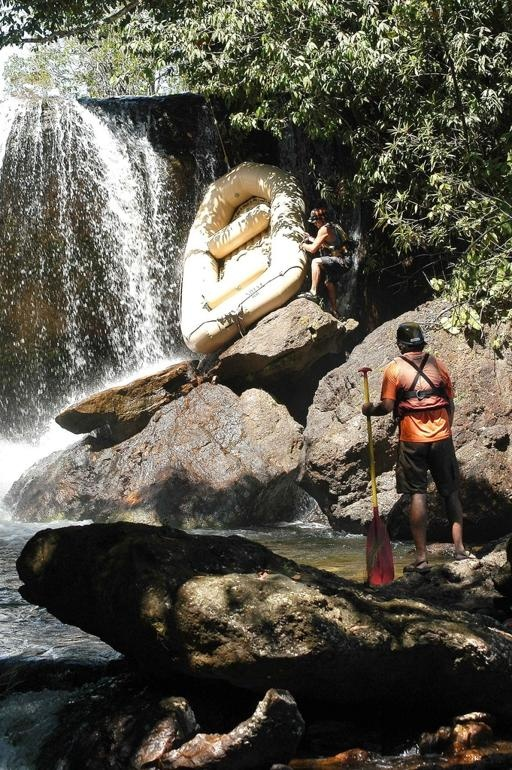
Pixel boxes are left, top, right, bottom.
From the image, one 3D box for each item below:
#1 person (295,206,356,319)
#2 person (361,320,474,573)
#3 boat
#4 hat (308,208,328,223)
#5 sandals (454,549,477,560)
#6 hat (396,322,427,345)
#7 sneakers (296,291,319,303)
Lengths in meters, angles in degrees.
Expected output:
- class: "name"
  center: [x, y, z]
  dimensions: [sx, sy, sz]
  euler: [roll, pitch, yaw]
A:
- class: "person"
  center: [0.996, -1.659, 12.557]
  dimensions: [0.709, 1.451, 0.871]
  euler: [-7, 10, 6]
- class: "person"
  center: [1.043, 0.404, 6.034]
  dimensions: [0.553, 1.559, 0.628]
  euler: [-7, 11, 9]
- class: "boat"
  center: [-0.131, -1.903, 13.887]
  dimensions: [1.780, 0.759, 3.105]
  euler: [-36, 32, 27]
- class: "hat"
  center: [0.840, -2.251, 12.368]
  dimensions: [0.269, 0.257, 0.199]
  euler: [-3, 13, -5]
- class: "sandals"
  center: [1.370, 1.101, 5.998]
  dimensions: [0.139, 0.064, 0.243]
  euler: [-3, -16, 3]
- class: "hat"
  center: [1.051, -0.328, 6.187]
  dimensions: [0.138, 0.144, 0.181]
  euler: [-10, -5, -12]
- class: "sneakers"
  center: [0.706, -1.152, 12.409]
  dimensions: [0.282, 0.167, 0.647]
  euler: [-7, 9, 3]
